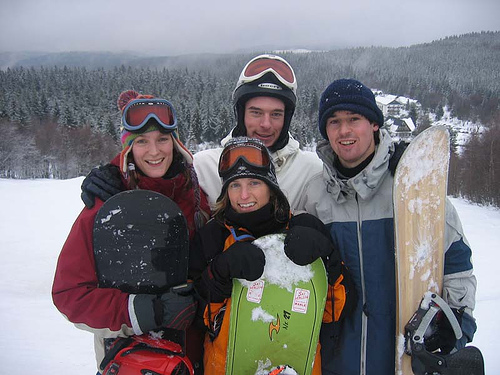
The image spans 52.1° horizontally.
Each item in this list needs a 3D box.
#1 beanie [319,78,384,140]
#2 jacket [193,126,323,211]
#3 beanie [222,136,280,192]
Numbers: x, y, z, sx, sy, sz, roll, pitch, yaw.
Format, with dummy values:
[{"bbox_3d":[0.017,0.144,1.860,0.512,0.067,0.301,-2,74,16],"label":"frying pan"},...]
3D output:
[{"bbox_3d":[1.638,-1.303,8.193,0.752,0.651,0.802,-16,-28,23],"label":"beanie"},{"bbox_3d":[0.107,-0.424,8.908,1.609,1.735,1.855,-6,13,-34],"label":"jacket"},{"bbox_3d":[-0.003,-0.375,7.911,0.801,0.881,0.882,0,5,-4],"label":"beanie"}]
